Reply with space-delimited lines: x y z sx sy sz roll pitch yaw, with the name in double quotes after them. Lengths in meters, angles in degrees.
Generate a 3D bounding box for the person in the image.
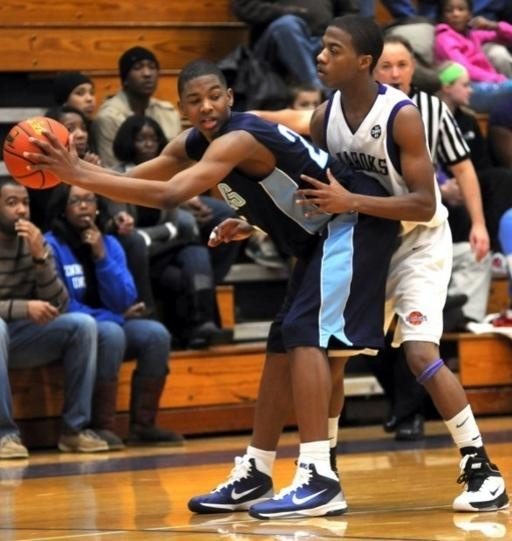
0.054 0.035 2.091 1.213 1.227 0.482 0 7 -8 "person"

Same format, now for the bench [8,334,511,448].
-0.077 0.486 3.105 1.268 0.221 0.233 -1 24 -21 "bench"

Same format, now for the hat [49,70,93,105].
-0.910 -0.886 3.817 0.193 0.137 0.161 -5 7 3 "hat"

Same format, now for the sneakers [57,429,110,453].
-0.685 0.681 3.099 0.193 0.069 0.083 -1 -3 5 "sneakers"

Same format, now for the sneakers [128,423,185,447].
-0.427 0.719 3.379 0.249 0.084 0.078 0 -2 -4 "sneakers"

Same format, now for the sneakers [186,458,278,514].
-0.073 0.588 2.146 0.274 0.138 0.099 -1 -4 -23 "sneakers"
